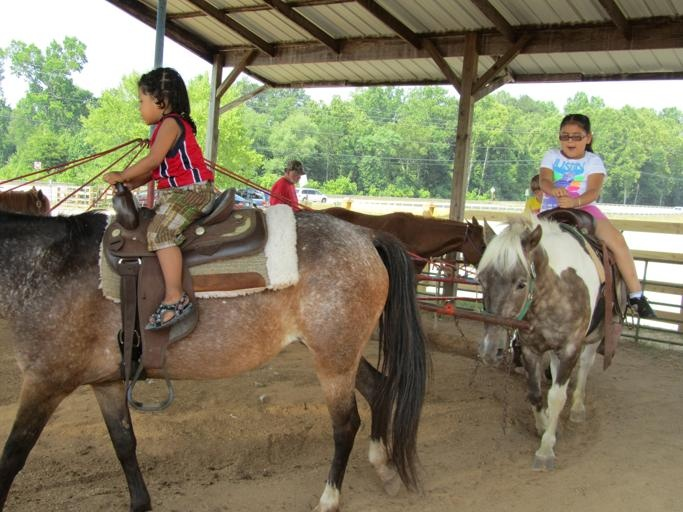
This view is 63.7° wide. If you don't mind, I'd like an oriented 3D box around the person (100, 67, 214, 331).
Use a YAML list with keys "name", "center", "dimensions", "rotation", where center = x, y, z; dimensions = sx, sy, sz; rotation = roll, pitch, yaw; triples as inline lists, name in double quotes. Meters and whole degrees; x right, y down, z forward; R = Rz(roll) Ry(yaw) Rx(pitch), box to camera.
- name: "person"
  center: [-1.276, -0.455, 4.018]
  dimensions: [0.576, 1.847, 0.715]
  rotation: [1, 10, 7]

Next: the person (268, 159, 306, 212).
- name: "person"
  center: [-0.973, -1.131, 9.454]
  dimensions: [0.307, 0.483, 1.063]
  rotation: [10, 37, -27]

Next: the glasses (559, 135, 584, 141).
- name: "glasses"
  center: [2.209, -1.139, 5.254]
  dimensions: [0.208, 0.063, 0.102]
  rotation: [5, 12, 25]

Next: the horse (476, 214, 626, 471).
- name: "horse"
  center: [2.146, 0.705, 5.381]
  dimensions: [0.697, 2.348, 2.821]
  rotation: [6, 10, 41]
